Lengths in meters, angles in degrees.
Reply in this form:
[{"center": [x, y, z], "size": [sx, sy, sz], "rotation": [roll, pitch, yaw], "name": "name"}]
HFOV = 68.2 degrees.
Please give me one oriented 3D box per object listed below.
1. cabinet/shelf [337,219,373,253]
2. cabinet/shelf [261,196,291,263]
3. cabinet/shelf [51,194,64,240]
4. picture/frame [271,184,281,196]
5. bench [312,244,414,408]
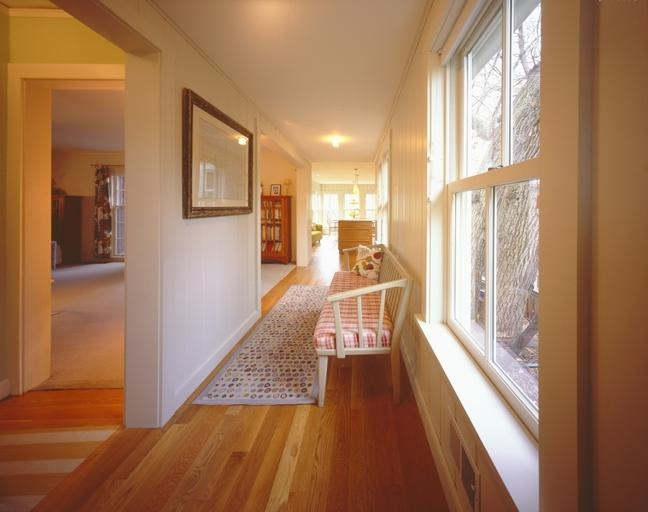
[{"center": [0.684, -0.395, 10.276], "size": [0.579, 0.702, 0.656], "rotation": [-1, -2, 5], "name": "cabinet/shelf"}, {"center": [-0.933, -0.490, 9.048], "size": [0.586, 1.311, 0.406], "rotation": [0, -2, 11], "name": "cabinet/shelf"}, {"center": [-4.968, -0.744, 9.148], "size": [0.181, 0.715, 0.501], "rotation": [-1, 25, -10], "name": "cabinet/shelf"}, {"center": [-0.899, -1.248, 9.010], "size": [0.194, 0.295, 0.026], "rotation": [0, -7, -1], "name": "picture/frame"}, {"center": [0.279, 0.433, 3.543], "size": [0.661, 0.866, 1.462], "rotation": [1, 15, 6], "name": "bench"}]
